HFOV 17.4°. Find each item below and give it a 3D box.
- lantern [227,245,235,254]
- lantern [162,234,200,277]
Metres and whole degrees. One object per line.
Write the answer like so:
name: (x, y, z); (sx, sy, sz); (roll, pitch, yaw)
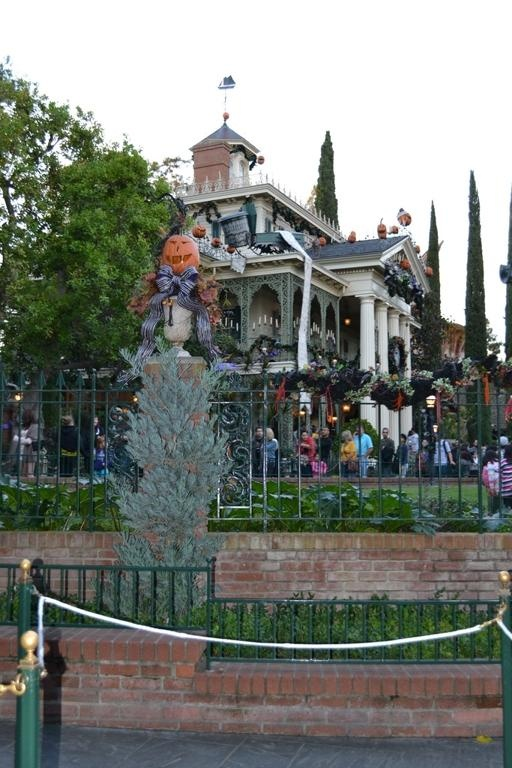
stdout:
lantern: (-0.528, -2.867, 35.159); (0.135, 0.198, 0.145); (0, -8, 7)
lantern: (-0.609, -1.050, 13.335); (0.292, 0.347, 0.264); (0, -5, -4)
